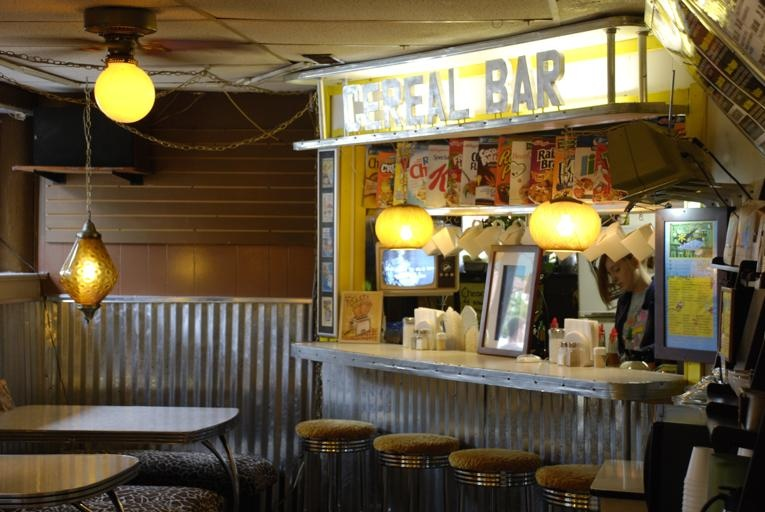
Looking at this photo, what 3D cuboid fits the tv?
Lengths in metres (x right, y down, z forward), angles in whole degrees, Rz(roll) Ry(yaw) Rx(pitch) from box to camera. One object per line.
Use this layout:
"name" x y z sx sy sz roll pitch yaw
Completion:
"tv" 0.305 0.161 7.153 0.862 0.550 0.474 0 -2 0

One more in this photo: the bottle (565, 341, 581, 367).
"bottle" 1.407 0.728 5.504 0.156 0.192 0.154 1 2 21

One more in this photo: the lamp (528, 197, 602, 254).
"lamp" 1.324 -0.219 5.411 0.433 0.261 0.421 4 -4 -27

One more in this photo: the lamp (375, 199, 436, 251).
"lamp" 0.197 -0.281 6.359 0.407 0.330 0.400 -1 2 21

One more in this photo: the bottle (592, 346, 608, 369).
"bottle" 1.609 0.746 5.500 0.135 0.144 0.118 1 -2 -8

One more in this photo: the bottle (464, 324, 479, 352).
"bottle" 0.756 0.709 6.274 0.180 0.245 0.186 0 -2 0

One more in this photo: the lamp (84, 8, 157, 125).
"lamp" -1.924 -1.404 5.477 0.521 0.827 0.413 1 -3 -21

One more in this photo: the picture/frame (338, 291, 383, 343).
"picture/frame" -0.194 0.577 6.888 0.492 0.538 0.038 1 -10 5
